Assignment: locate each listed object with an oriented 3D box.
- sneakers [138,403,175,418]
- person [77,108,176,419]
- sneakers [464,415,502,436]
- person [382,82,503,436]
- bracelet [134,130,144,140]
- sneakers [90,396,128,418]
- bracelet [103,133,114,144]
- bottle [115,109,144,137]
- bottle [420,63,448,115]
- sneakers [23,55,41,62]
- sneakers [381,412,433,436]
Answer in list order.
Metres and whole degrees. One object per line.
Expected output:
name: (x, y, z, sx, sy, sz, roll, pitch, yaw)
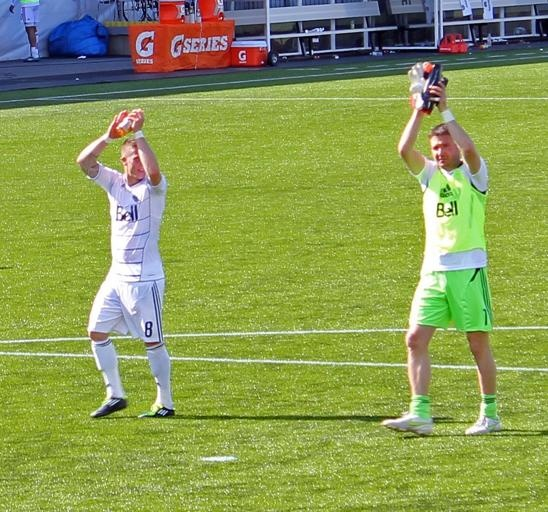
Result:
sneakers: (-0.773, 1.041, 10.153, 0.269, 0.108, 0.091, 1, -4, -1)
person: (-0.993, 0.052, 10.169, 0.637, 2.031, 0.561, -5, 11, -1)
sneakers: (1.356, 1.099, 9.755, 0.271, 0.117, 0.097, -6, 2, -9)
person: (1.112, 0.003, 9.756, 0.592, 2.251, 0.692, -4, 11, 8)
bracelet: (-0.896, -0.814, 10.083, 0.062, 0.048, 0.062, 0, -3, 4)
sneakers: (-1.090, 1.017, 10.187, 0.287, 0.123, 0.103, -24, -6, -12)
bracelet: (-1.114, -0.794, 10.198, 0.044, 0.060, 0.060, -13, -4, -17)
bottle: (-0.942, -0.899, 10.127, 0.191, 0.165, 0.207, -5, 11, 1)
bottle: (1.073, -1.111, 9.798, 0.110, 0.414, 0.239, 5, -9, 31)
sneakers: (-4.775, -3.908, 29.840, 0.342, 0.140, 0.115, 5, 8, 41)
sneakers: (0.875, 1.075, 9.737, 0.339, 0.172, 0.122, 7, -3, -1)
